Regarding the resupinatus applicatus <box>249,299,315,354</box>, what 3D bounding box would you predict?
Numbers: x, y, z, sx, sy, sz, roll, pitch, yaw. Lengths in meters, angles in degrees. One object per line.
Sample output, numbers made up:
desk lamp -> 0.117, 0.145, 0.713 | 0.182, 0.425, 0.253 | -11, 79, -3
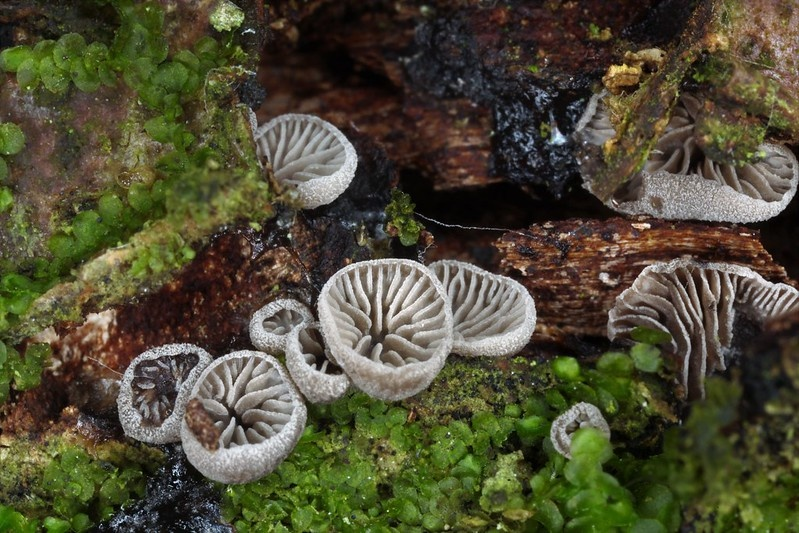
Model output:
resupinatus applicatus -> -1.232, 0.563, 8.352 | 0.538, 0.265, 0.570 | 5, 43, 2

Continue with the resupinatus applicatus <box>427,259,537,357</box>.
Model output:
resupinatus applicatus -> 0.887, 0.349, 8.494 | 0.884, 1.054, 1.104 | 12, 26, 39

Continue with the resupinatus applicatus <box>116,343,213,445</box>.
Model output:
resupinatus applicatus -> -2.369, 1.202, 8.433 | 0.875, 0.432, 1.003 | 6, 69, -8

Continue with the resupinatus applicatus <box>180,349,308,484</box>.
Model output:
resupinatus applicatus -> -1.517, 1.481, 8.075 | 1.277, 0.648, 1.089 | -41, 60, -21

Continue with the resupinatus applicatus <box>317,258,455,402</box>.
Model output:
resupinatus applicatus -> -0.135, 0.530, 7.928 | 1.169, 0.632, 1.378 | -28, 75, -11

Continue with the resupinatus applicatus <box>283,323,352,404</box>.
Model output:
resupinatus applicatus -> -0.771, 0.916, 7.929 | 0.611, 0.548, 0.581 | -37, 120, -43
